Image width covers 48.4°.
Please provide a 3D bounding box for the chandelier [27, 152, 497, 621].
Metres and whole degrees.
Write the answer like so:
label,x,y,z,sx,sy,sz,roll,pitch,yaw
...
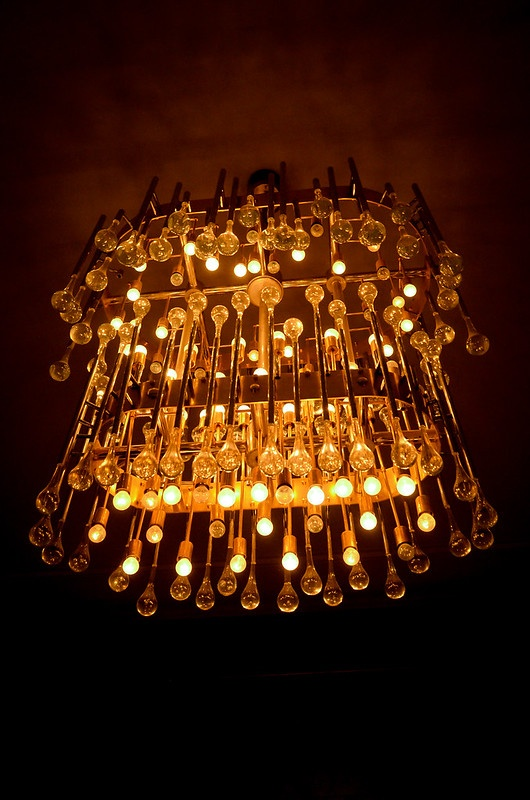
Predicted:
label,x,y,z,sx,sy,sz,roll,pitch,yaw
chandelier,0.094,-0.458,2.078,1.163,1.729,0.926,9,-12,-4
